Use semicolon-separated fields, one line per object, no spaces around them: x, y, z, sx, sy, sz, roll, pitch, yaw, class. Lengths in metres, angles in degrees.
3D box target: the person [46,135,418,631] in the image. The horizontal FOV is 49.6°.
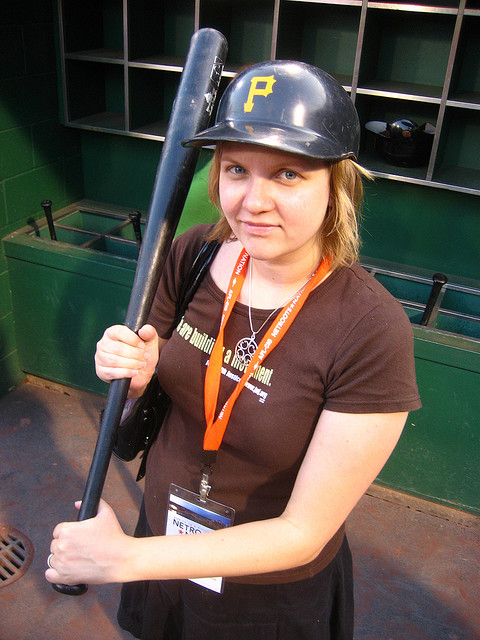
-0.070;0.161;1.072;0.526;1.059;0.658;3;25;-18;person
